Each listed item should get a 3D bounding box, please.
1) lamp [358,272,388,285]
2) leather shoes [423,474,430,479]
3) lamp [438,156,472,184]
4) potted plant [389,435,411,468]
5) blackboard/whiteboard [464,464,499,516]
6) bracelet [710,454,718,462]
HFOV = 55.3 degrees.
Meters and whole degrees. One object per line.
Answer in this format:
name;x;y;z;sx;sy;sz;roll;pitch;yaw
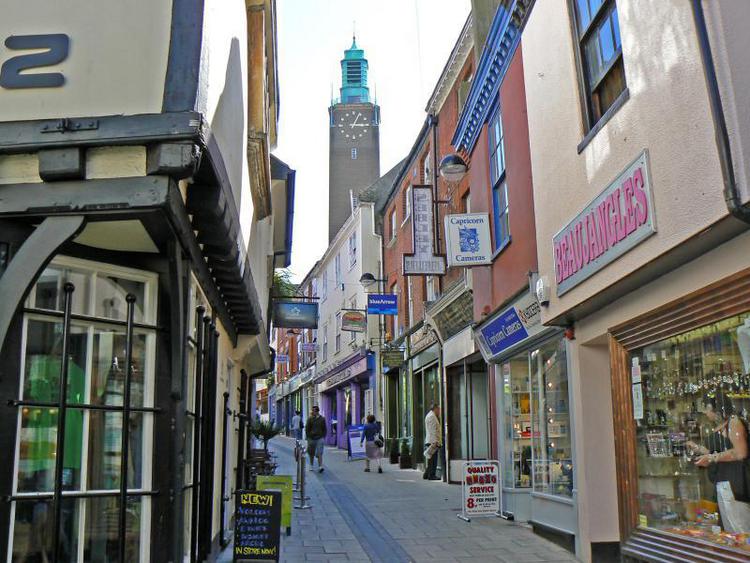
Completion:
lamp;-0.180;-0.206;23.130;0.837;0.429;0.439;7;-9;-41
leather shoes;1.274;5.010;18.405;0.113;0.109;0.125;-5;-9;24
lamp;1.449;-2.237;13.505;0.469;0.596;0.483;3;-16;-12
potted plant;0.769;5.424;22.762;0.785;0.996;0.474;0;-20;1
blackboard/whiteboard;1.778;3.477;12.035;0.650;1.039;0.722;-4;-52;10
bracelet;3.150;1.635;6.664;0.015;0.066;0.043;-6;0;1
